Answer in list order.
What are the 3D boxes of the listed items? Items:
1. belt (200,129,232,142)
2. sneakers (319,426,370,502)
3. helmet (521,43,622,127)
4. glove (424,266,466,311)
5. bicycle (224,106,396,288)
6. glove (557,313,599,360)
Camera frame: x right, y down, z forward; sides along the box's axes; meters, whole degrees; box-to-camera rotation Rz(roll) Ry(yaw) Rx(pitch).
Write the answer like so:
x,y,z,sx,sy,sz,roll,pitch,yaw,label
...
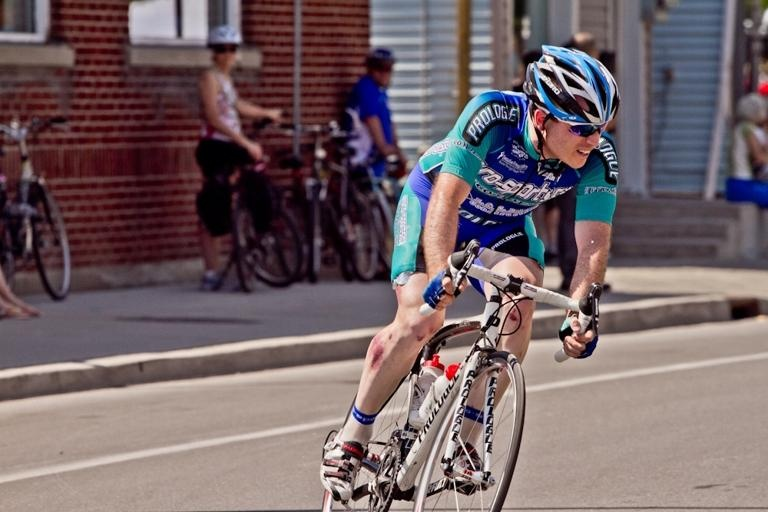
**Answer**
x,y,z,sx,sy,sz,roll,pitch,yaw,label
-1.832,-1.319,13.305,0.325,0.165,0.058,-7,14,-31,belt
-0.249,1.377,7.932,0.207,0.298,0.628,20,18,-5,sneakers
1.162,-0.991,7.497,0.391,0.569,0.282,-26,5,-7,helmet
0.360,0.203,7.230,0.146,0.257,0.102,29,27,-30,glove
-0.822,-0.516,14.150,1.114,1.602,2.327,-8,-8,37,bicycle
1.197,0.510,7.352,0.108,0.292,0.205,16,13,-42,glove
